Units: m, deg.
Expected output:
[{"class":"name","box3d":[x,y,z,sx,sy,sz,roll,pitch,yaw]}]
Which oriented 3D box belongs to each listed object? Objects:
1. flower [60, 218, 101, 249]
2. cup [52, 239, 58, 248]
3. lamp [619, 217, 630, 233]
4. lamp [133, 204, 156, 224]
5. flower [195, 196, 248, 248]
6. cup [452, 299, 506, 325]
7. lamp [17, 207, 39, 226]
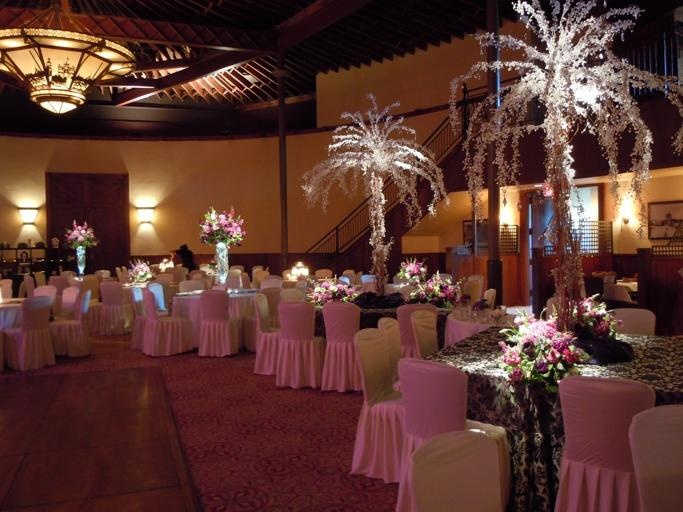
[{"class":"flower","box3d":[-6.696,-0.574,13.309,0.557,0.651,0.638,-2,-21,6]},{"class":"cup","box3d":[-7.277,-0.320,13.298,0.134,0.218,0.159,-7,-17,18]},{"class":"lamp","box3d":[5.616,-0.629,10.398,0.240,0.380,0.124,-1,-2,-1]},{"class":"lamp","box3d":[-5.529,-1.178,14.726,0.422,0.484,0.432,-1,-2,-14]},{"class":"flower","box3d":[-2.723,-0.769,11.751,1.228,1.305,1.349,1,-5,5]},{"class":"cup","box3d":[1.318,0.541,4.846,0.278,0.147,0.284,2,3,0]},{"class":"lamp","box3d":[-8.304,-1.044,13.903,0.425,0.478,0.391,-2,1,-28]}]
